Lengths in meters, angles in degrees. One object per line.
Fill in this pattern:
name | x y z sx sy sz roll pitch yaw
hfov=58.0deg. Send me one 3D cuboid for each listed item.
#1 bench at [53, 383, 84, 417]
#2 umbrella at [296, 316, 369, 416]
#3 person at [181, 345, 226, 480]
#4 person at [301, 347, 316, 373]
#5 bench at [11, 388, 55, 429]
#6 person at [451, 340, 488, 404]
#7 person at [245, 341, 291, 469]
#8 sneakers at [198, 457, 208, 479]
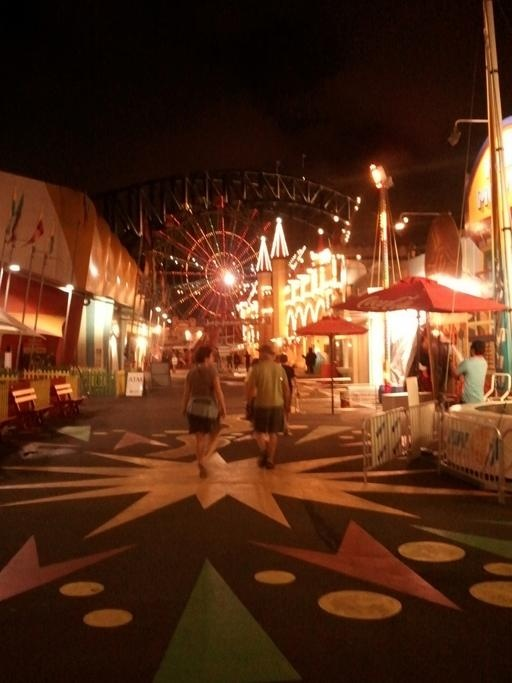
bench | -5.371 1.618 13.038 0.713 0.931 1.080 2 -4 -28
umbrella | 3.700 1.158 21.361 2.472 5.590 3.098 0 -2 -2
person | -0.796 0.942 7.007 0.597 1.856 1.809 0 -3 -5
person | 3.307 1.202 28.993 0.729 2.746 0.821 1 -20 0
bench | -5.400 1.566 10.979 0.696 0.944 2.312 2 -4 -26
person | 3.427 0.483 7.351 0.434 1.003 0.931 -1 -4 28
person | 0.167 0.970 7.245 0.679 1.816 1.169 0 -3 4
sneakers | -0.729 1.701 6.368 0.149 0.250 0.635 1 -4 -6
